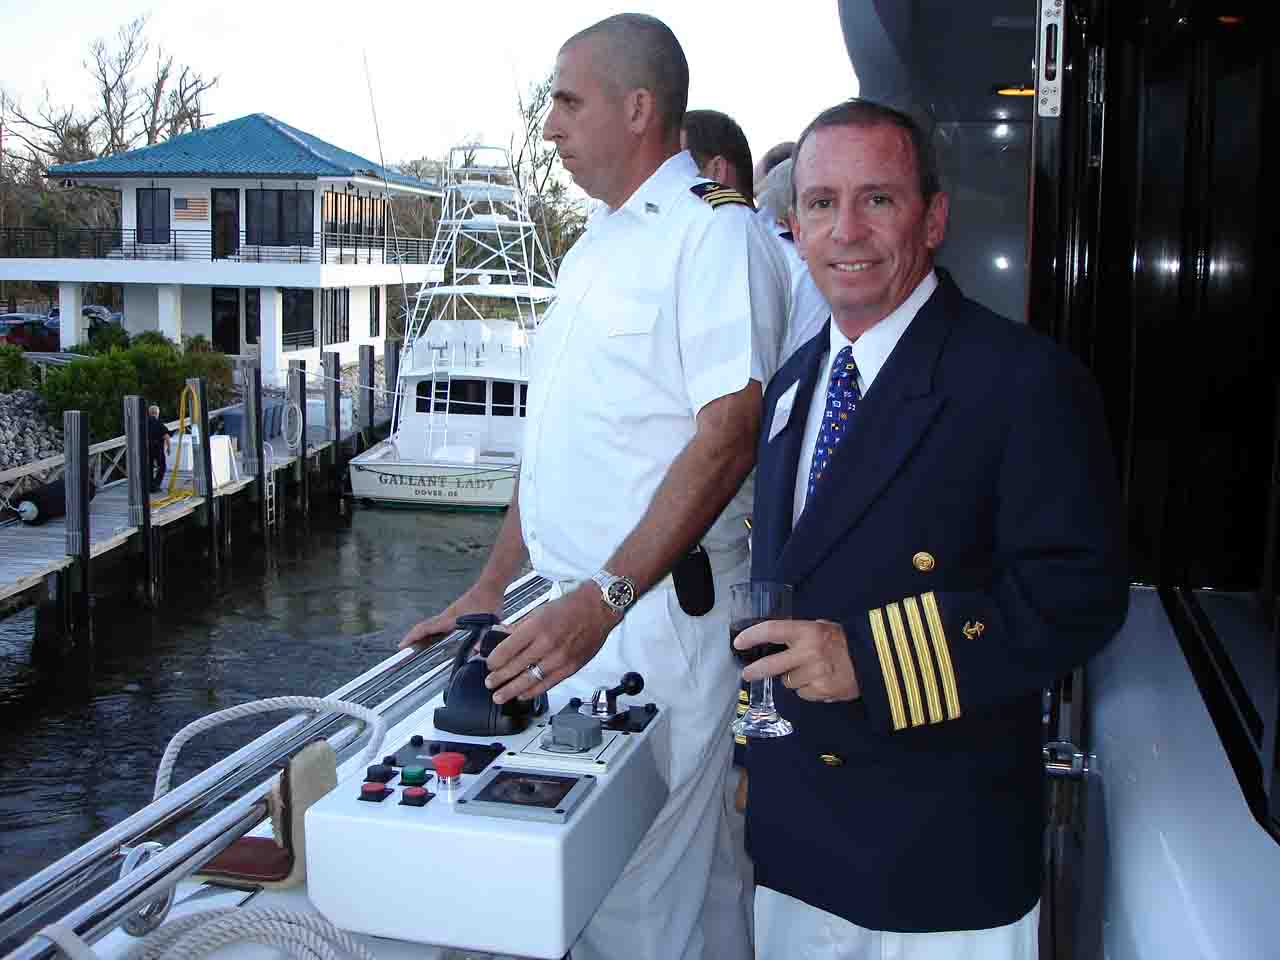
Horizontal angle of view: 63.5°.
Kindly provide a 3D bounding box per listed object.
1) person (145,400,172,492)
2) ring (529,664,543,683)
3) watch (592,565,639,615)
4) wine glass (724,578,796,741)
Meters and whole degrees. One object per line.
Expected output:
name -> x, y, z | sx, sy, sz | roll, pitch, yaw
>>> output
person -> -7.520, -0.492, 15.994 | 0.293, 1.355, 1.539 | -7, 12, -25
ring -> -0.164, 0.303, 1.613 | 0.021, 0.023, 0.005 | -15, -7, -45
watch -> -0.042, 0.184, 1.822 | 0.057, 0.086, 0.077 | -41, 11, -15
wine glass -> 0.197, 0.303, 1.641 | 0.093, 0.313, 0.274 | 0, 11, 9
